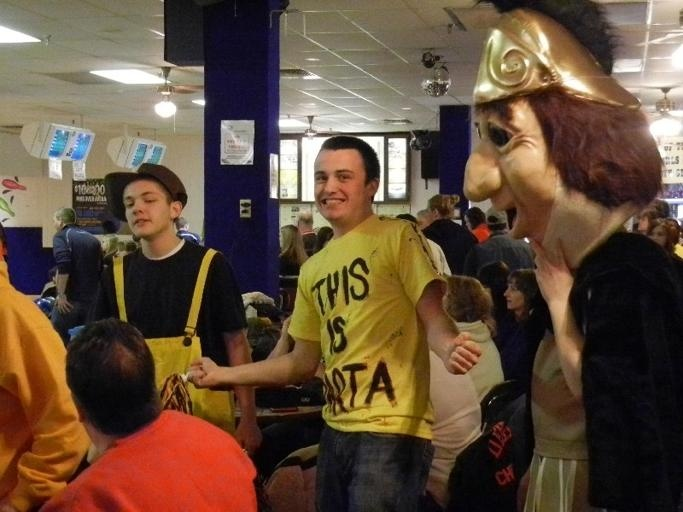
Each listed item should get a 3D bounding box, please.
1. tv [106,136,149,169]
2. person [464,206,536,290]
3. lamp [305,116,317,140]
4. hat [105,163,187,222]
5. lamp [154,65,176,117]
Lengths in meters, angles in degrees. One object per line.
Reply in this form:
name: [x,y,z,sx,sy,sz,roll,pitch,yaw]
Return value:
tv: [-5.165,-2.591,13.364,0.863,0.701,0.949,9,13,6]
person: [1.258,0.089,4.424,0.478,1.093,0.352,-2,-6,20]
lamp: [-0.856,-3.461,14.825,0.405,0.688,0.421,-1,0,-1]
hat: [-0.892,-0.267,2.513,0.328,0.167,0.250,16,3,-44]
lamp: [-3.026,-2.790,9.387,0.441,0.828,0.461,6,13,4]
